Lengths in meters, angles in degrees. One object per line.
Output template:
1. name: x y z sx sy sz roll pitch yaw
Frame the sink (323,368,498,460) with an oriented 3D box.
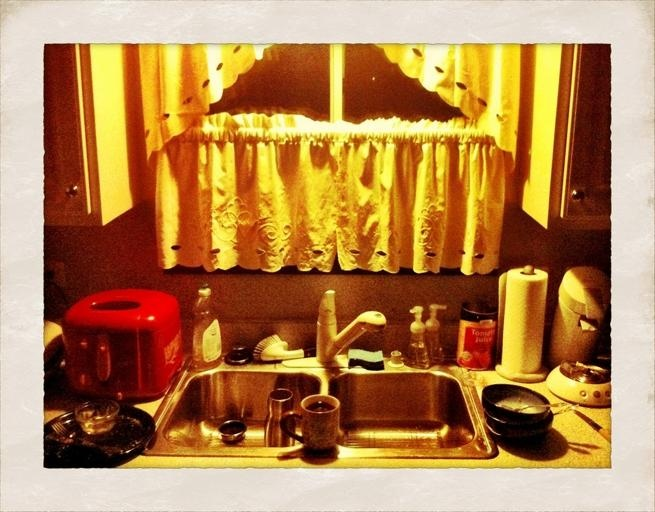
1. sink: 0.243 0.502 1.983 0.317 0.127 0.271 1 16 0

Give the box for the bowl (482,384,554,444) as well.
1. bowl: 0.537 0.444 1.797 0.186 0.102 0.244 -1 5 14

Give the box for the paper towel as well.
1. paper towel: 0.641 0.207 2.064 0.180 0.349 0.180 5 10 21

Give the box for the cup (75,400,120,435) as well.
1. cup: -0.638 0.435 1.726 0.089 0.048 0.090 1 15 0

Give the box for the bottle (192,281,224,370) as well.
1. bottle: -0.408 0.229 2.109 0.102 0.255 0.175 -3 6 -10

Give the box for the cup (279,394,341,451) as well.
1. cup: -0.041 0.454 1.736 0.170 0.128 0.110 -1 4 -14

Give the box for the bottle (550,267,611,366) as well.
1. bottle: 0.829 0.199 2.061 0.194 0.321 0.113 -1 6 11

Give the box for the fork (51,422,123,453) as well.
1. fork: -0.615 0.485 1.706 0.255 0.079 0.047 4 -8 13

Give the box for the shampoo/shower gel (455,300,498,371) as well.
1. shampoo/shower gel: 0.500 0.261 2.125 0.125 0.203 0.128 3 15 2

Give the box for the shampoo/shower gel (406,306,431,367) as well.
1. shampoo/shower gel: 0.305 0.262 2.124 0.074 0.198 0.144 -1 6 9

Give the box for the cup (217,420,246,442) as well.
1. cup: -0.291 0.528 1.903 0.078 0.052 0.108 -4 6 -21
